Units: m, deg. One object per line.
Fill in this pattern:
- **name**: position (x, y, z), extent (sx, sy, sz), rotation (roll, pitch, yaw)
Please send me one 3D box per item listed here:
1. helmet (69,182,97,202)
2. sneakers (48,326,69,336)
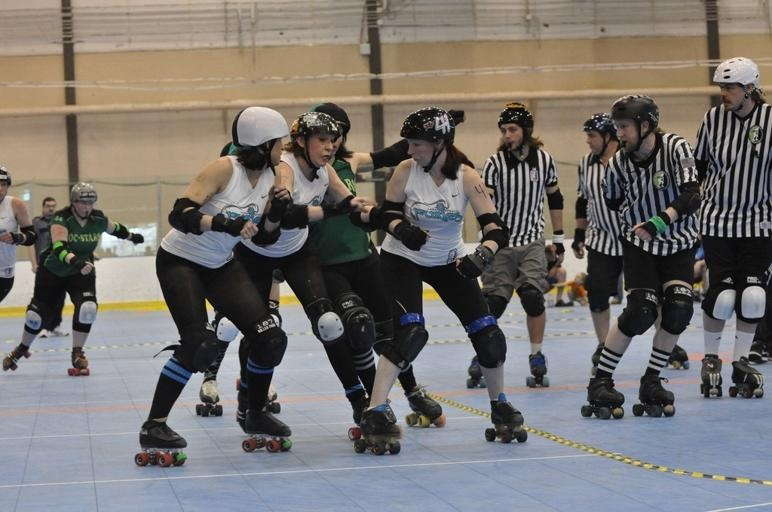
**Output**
- **helmet**: position (-3.737, -0.772, 12.905), extent (0.261, 0.304, 0.320), rotation (2, 17, -20)
- **sneakers**: position (-5.255, 1.178, 16.780), extent (0.343, 0.152, 0.123), rotation (2, 9, -1)
